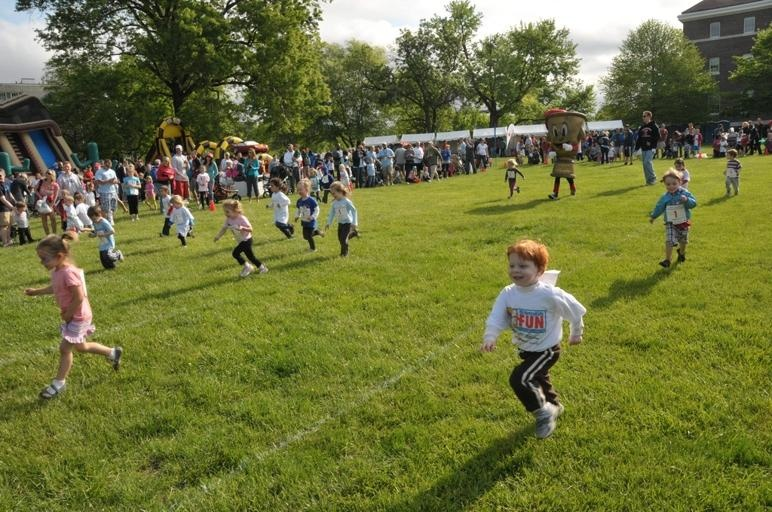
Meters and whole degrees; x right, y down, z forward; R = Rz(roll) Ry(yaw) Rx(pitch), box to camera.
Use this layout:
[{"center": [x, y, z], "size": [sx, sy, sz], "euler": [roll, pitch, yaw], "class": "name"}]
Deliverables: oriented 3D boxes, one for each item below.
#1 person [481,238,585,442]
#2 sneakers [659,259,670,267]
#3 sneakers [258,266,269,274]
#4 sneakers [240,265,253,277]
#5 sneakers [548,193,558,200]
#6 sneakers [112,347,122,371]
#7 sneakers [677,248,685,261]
[{"center": [2.147, 1.208, 9.488], "size": [1.379, 2.743, 0.729], "euler": [-4, 13, 6], "class": "person"}, {"center": [5.593, 0.156, 13.254], "size": [0.083, 0.181, 0.251], "euler": [1, 22, 7], "class": "sneakers"}, {"center": [-2.688, 0.309, 14.491], "size": [0.203, 0.149, 0.254], "euler": [-9, 14, -16], "class": "sneakers"}, {"center": [-3.034, 0.312, 14.432], "size": [0.280, 0.229, 0.480], "euler": [-6, 13, -2], "class": "sneakers"}, {"center": [5.217, -1.817, 20.468], "size": [0.251, 0.175, 0.391], "euler": [-2, 14, 15], "class": "sneakers"}, {"center": [-4.464, 1.737, 11.029], "size": [0.126, 0.395, 0.167], "euler": [0, 5, 7], "class": "sneakers"}, {"center": [6.078, 0.024, 13.567], "size": [0.124, 0.358, 0.151], "euler": [-2, -7, -1], "class": "sneakers"}]
